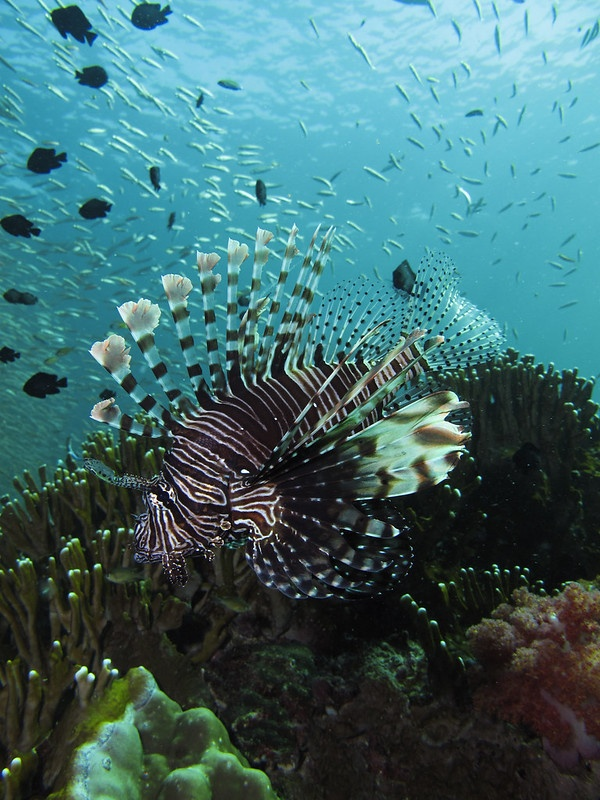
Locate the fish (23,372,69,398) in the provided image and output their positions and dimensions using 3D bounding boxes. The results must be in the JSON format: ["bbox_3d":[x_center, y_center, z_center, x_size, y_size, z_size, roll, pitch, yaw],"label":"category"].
[{"bbox_3d":[-2.414,-0.151,6.745,0.390,0.311,0.292,-9,24,-17],"label":"fish"}]
